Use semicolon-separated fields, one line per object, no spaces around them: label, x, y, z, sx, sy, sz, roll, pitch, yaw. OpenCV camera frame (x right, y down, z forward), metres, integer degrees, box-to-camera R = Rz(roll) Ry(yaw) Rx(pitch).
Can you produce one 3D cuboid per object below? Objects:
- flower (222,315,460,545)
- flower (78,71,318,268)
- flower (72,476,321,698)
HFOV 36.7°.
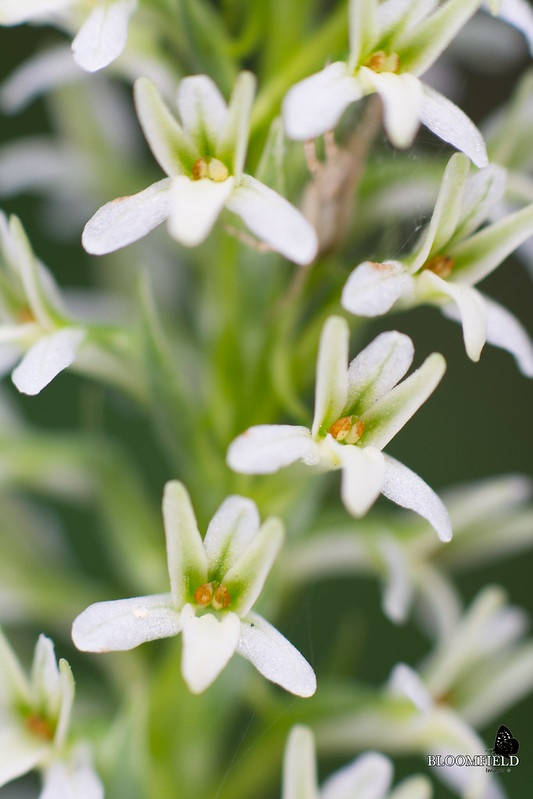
flower;0.031;0.007;0.320;0.055;0.077;0.099;17;51;23
flower;-0.029;-0.087;0.338;0.096;0.040;0.086;21;91;3
flower;-0.013;0.079;0.331;0.089;0.041;0.102;24;29;10
